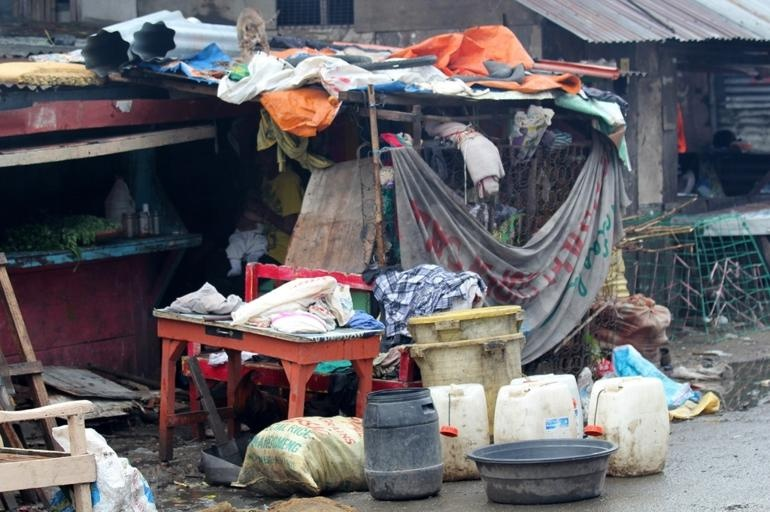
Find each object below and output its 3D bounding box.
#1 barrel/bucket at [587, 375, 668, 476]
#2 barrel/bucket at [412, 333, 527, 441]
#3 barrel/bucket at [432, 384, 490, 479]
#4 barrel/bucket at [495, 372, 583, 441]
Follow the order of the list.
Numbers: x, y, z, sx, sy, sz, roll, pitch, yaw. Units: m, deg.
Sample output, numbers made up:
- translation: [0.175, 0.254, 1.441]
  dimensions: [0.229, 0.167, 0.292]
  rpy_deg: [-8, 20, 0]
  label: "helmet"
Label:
- translation: [2.965, 2.004, 16.245]
  dimensions: [1.196, 1.369, 0.785]
  rpy_deg: [-3, 4, -31]
  label: "barrel/bucket"
- translation: [1.056, 1.683, 17.560]
  dimensions: [1.200, 1.257, 1.251]
  rpy_deg: [-1, -4, 0]
  label: "barrel/bucket"
- translation: [0.938, 2.100, 16.650]
  dimensions: [0.668, 1.069, 0.655]
  rpy_deg: [-5, 8, 1]
  label: "barrel/bucket"
- translation: [1.915, 1.933, 16.584]
  dimensions: [1.021, 1.051, 0.688]
  rpy_deg: [-19, 22, -40]
  label: "barrel/bucket"
